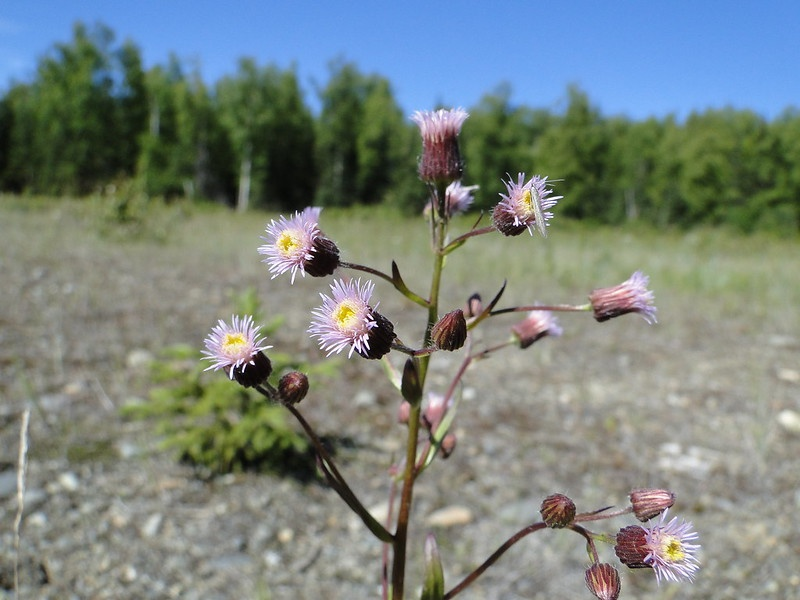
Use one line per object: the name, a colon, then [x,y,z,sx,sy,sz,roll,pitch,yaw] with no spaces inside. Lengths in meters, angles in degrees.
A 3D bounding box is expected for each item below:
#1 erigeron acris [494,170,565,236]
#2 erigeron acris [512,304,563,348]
erigeron acris: [0.733,-0.526,5.701,0.307,0.238,0.372,3,23,1]
erigeron acris: [0.914,0.235,6.241,0.267,0.258,0.284,-37,-19,-4]
